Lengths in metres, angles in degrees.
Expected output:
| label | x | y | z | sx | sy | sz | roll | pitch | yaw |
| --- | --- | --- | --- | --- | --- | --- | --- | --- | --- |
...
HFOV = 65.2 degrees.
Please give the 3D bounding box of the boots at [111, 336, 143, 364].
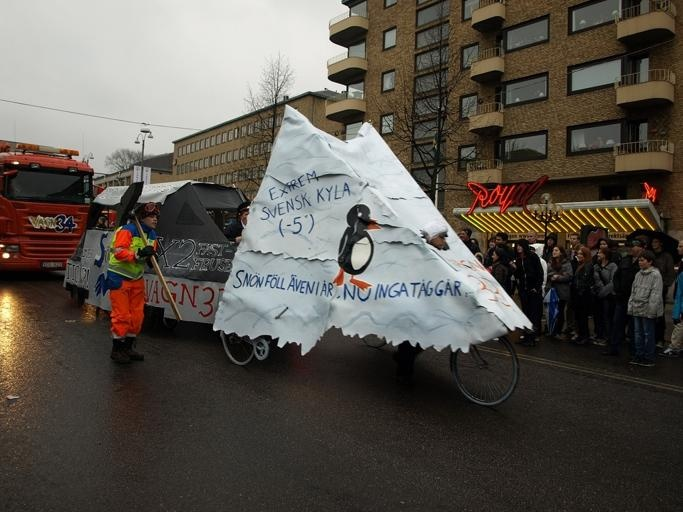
| label | x | y | z | sx | sy | sz | roll | pitch | yaw |
| --- | --- | --- | --- | --- | --- | --- | --- | --- | --- |
| boots | -3.366 | 1.459 | 8.341 | 0.455 | 0.424 | 0.372 | 0 | -3 | 4 |
